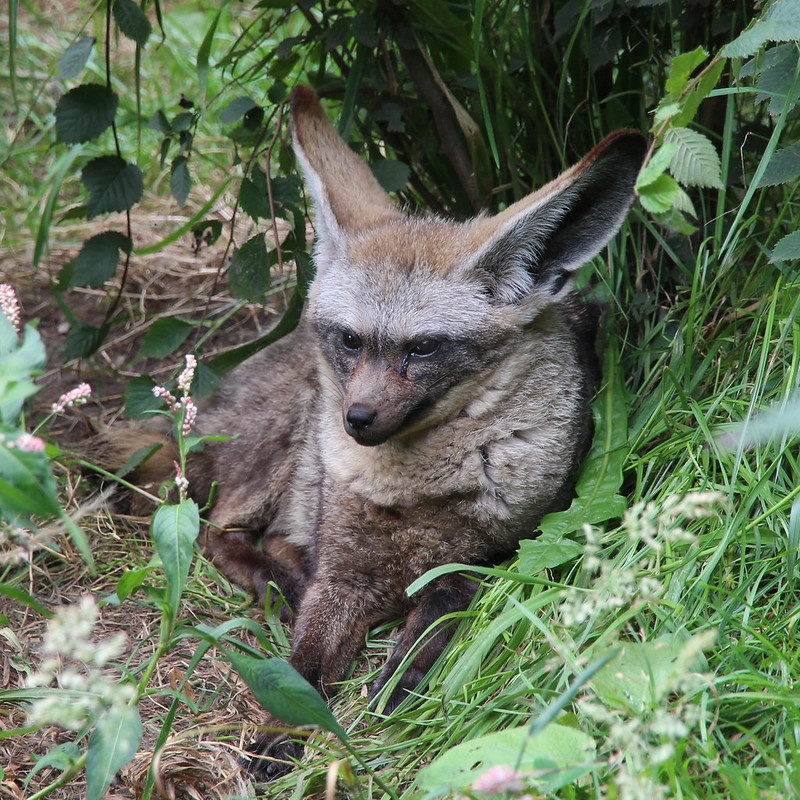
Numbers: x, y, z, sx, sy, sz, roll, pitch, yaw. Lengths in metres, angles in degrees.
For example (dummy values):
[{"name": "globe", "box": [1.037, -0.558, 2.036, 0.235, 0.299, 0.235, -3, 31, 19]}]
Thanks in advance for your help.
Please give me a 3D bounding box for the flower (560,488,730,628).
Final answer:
[{"name": "flower", "box": [0.678, 0.440, 2.495, 0.478, 0.429, 0.117, -27, 53, 26]}]
